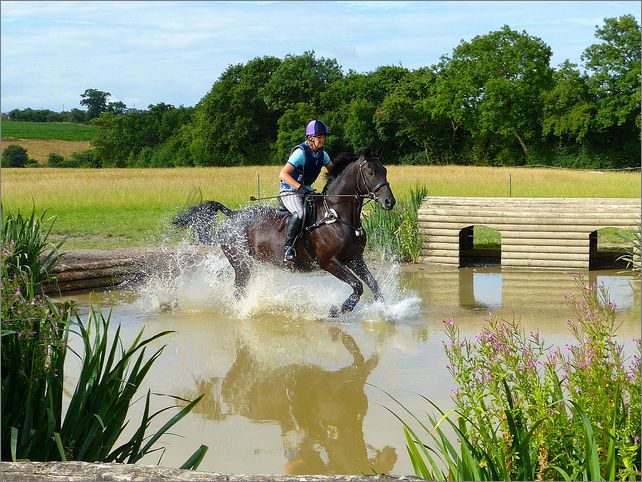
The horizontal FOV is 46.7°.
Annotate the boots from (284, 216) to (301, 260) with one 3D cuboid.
[{"bbox_3d":[-0.419,-0.050,11.176,0.298,0.768,0.205,9,36,9],"label":"boots"}]

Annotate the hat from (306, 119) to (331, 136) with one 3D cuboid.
[{"bbox_3d":[-0.042,-1.656,10.820,0.319,0.195,0.222,1,9,30],"label":"hat"}]

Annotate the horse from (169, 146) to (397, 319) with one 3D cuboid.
[{"bbox_3d":[-0.343,-0.181,11.465,3.585,2.446,0.640,3,6,35],"label":"horse"}]
